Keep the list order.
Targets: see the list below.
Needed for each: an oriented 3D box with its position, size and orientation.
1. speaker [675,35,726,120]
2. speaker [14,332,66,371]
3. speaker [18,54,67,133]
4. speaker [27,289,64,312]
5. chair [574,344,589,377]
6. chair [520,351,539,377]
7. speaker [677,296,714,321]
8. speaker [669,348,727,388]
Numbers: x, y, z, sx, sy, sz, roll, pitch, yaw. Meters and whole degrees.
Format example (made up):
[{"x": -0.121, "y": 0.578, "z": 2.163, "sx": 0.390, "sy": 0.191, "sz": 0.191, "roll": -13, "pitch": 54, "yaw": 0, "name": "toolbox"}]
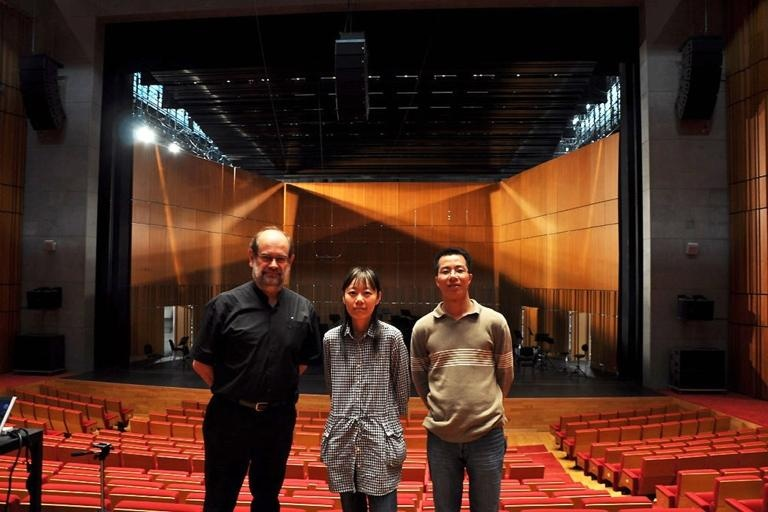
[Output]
[{"x": 7.798, "y": -4.379, "z": 14.308, "sx": 0.851, "sy": 1.834, "sz": 0.963, "roll": 0, "pitch": -8, "yaw": 9, "name": "speaker"}, {"x": -9.170, "y": 2.497, "z": 15.255, "sx": 0.981, "sy": 0.997, "sz": 1.004, "roll": 0, "pitch": -6, "yaw": -3, "name": "speaker"}, {"x": -9.117, "y": -4.339, "z": 15.288, "sx": 0.793, "sy": 1.801, "sz": 1.263, "roll": 1, "pitch": -8, "yaw": -2, "name": "speaker"}, {"x": -9.118, "y": 1.136, "z": 15.562, "sx": 0.961, "sy": 0.714, "sz": 0.548, "roll": 1, "pitch": -7, "yaw": -10, "name": "speaker"}, {"x": 5.610, "y": 2.890, "z": 16.335, "sx": 0.371, "sy": 0.847, "sz": 1.394, "roll": -2, "pitch": -9, "yaw": 20, "name": "chair"}, {"x": 4.087, "y": 3.013, "z": 16.385, "sx": 0.590, "sy": 0.892, "sz": 0.647, "roll": 0, "pitch": -10, "yaw": 7, "name": "chair"}, {"x": 7.772, "y": 1.357, "z": 14.493, "sx": 0.790, "sy": 0.805, "sz": 0.573, "roll": 0, "pitch": -7, "yaw": 1, "name": "speaker"}, {"x": 7.649, "y": 2.755, "z": 14.161, "sx": 0.967, "sy": 0.940, "sz": 1.003, "roll": 0, "pitch": -10, "yaw": 2, "name": "speaker"}]
